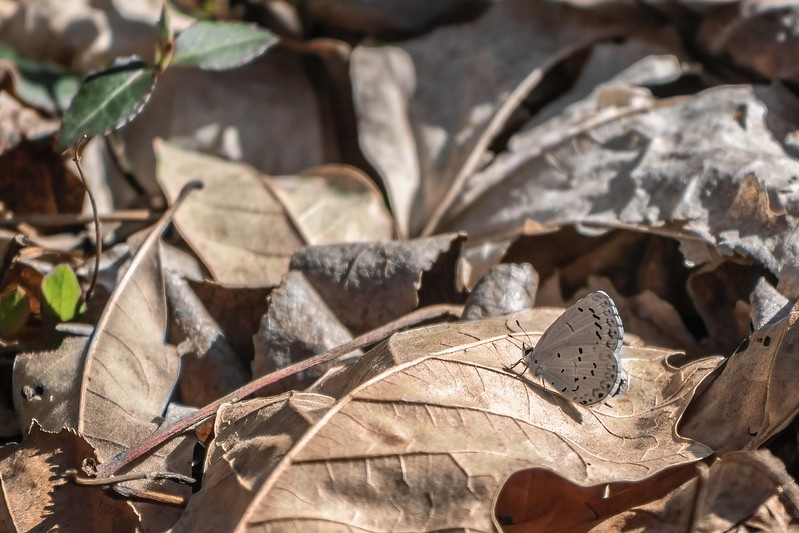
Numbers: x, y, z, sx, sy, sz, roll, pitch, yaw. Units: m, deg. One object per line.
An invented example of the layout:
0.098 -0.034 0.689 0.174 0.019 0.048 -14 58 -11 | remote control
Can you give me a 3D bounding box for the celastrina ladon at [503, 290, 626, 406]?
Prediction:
0.529 0.279 3.898 0.312 0.417 0.285 17 98 2 | celastrina ladon
